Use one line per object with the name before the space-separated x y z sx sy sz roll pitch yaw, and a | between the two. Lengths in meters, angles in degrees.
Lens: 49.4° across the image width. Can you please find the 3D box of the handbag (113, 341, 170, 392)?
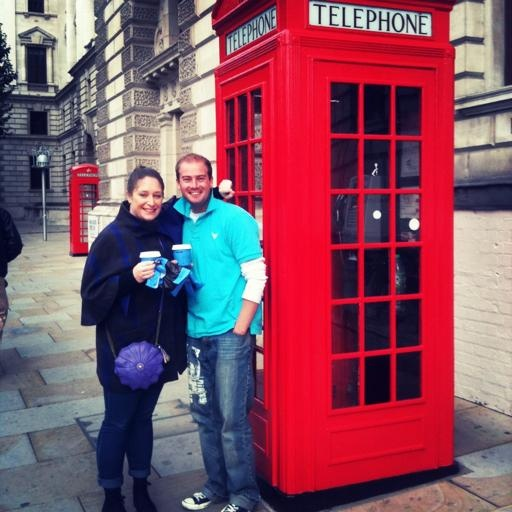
handbag | -0.584 0.553 2.843 0.203 0.266 0.257 -2 15 -14
